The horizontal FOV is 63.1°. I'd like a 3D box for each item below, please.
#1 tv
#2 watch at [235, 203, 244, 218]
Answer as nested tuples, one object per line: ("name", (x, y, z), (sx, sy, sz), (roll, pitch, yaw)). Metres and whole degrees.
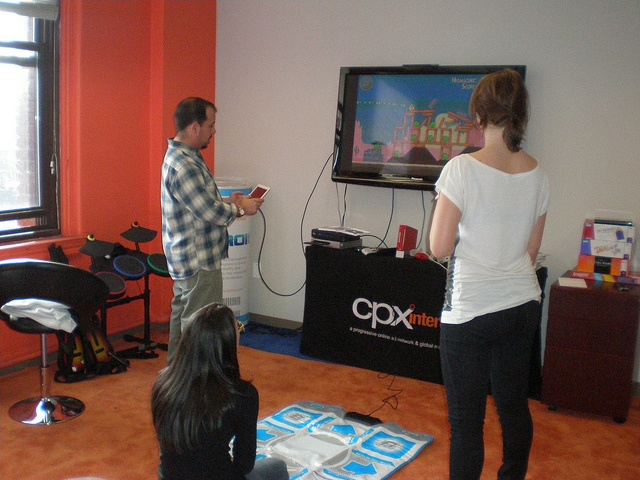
("tv", (0.748, -0.823, 3.701), (1.138, 0.828, 0.121), (6, 7, 23))
("watch", (-0.557, -0.201, 3.654), (0.030, 0.068, 0.080), (-28, 29, 5))
